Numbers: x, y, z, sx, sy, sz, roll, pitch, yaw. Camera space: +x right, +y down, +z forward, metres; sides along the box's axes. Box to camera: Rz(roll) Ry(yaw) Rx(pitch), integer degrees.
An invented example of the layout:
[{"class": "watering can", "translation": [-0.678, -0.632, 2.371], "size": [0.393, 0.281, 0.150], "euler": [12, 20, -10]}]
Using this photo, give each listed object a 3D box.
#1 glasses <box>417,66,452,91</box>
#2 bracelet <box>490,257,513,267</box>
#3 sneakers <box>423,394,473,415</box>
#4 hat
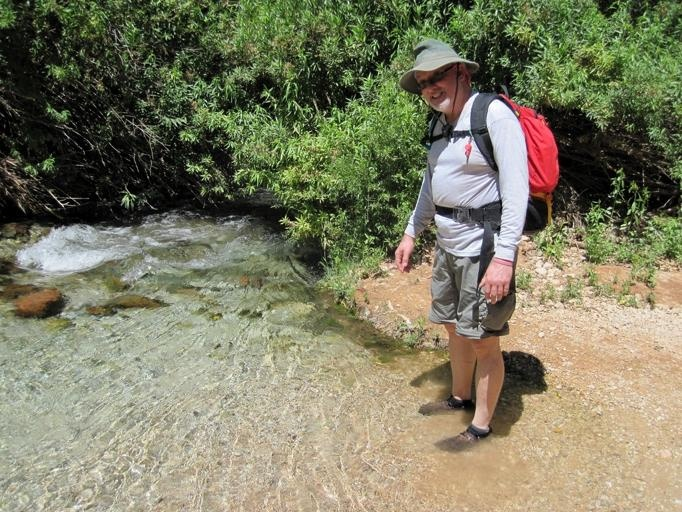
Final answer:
[{"class": "glasses", "translation": [0.694, -1.337, 3.760], "size": [0.169, 0.050, 0.176], "euler": [-17, 15, 46]}, {"class": "bracelet", "translation": [1.132, 0.039, 3.547], "size": [0.146, 0.068, 0.051], "euler": [-2, 27, 9]}, {"class": "sneakers", "translation": [0.902, 1.282, 4.456], "size": [0.503, 0.169, 0.163], "euler": [1, 13, 11]}, {"class": "hat", "translation": [0.680, -1.412, 3.867], "size": [0.476, 0.207, 0.473], "euler": [-11, -9, -11]}]
